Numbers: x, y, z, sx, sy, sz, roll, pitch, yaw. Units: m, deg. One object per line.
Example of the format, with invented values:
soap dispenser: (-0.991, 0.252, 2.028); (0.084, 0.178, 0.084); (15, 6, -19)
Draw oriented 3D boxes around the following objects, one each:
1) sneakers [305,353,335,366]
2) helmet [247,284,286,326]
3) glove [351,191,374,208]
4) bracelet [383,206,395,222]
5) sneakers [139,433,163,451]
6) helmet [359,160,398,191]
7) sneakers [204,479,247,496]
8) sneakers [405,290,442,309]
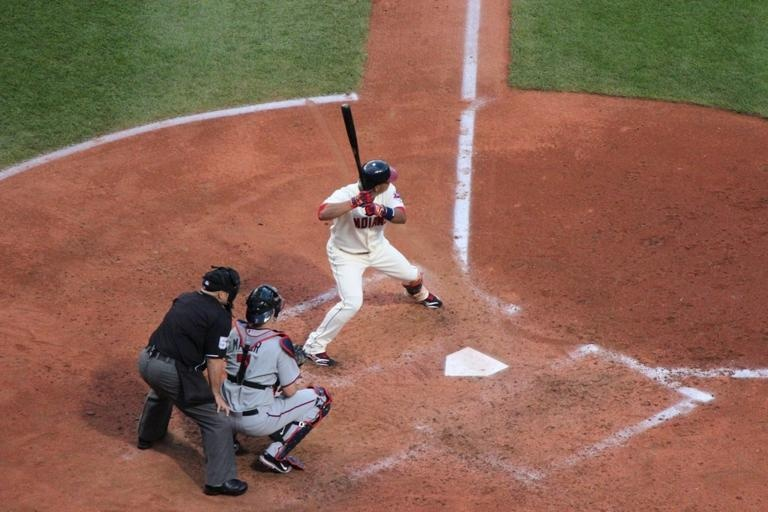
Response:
sneakers: (-0.969, 1.626, 14.537); (0.562, 0.201, 0.174); (2, 23, -3)
helmet: (-1.642, 0.676, 12.646); (0.527, 0.411, 0.596); (9, 19, 9)
glove: (-0.344, -0.917, 14.237); (0.375, 0.290, 0.311); (-7, 41, 0)
bracelet: (0.087, -0.663, 14.383); (0.236, 0.201, 0.178); (8, 48, 18)
sneakers: (-3.360, 2.658, 12.989); (0.162, 0.144, 0.412); (23, 19, 21)
helmet: (-0.118, -1.259, 14.302); (0.568, 0.404, 0.338); (-20, 44, -16)
sneakers: (-2.153, 3.201, 12.529); (0.576, 0.192, 0.217); (-3, 30, -4)
sneakers: (0.672, 0.760, 15.489); (0.596, 0.211, 0.233); (11, 51, 8)
